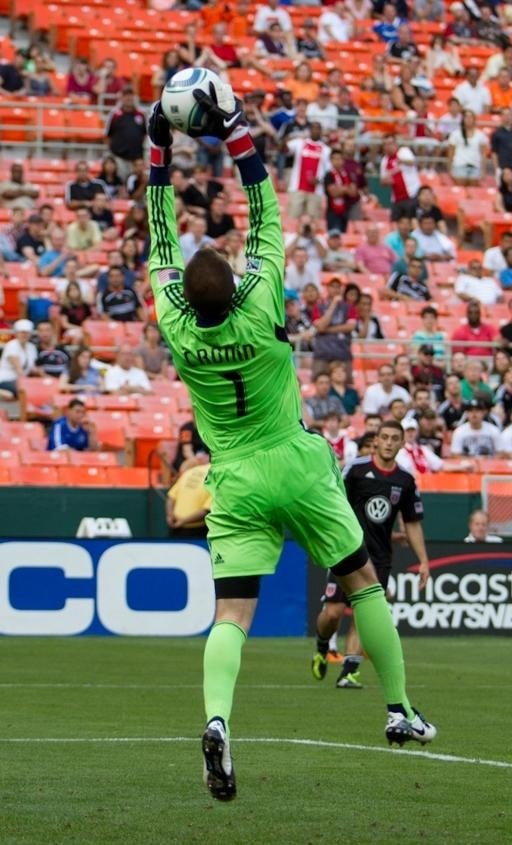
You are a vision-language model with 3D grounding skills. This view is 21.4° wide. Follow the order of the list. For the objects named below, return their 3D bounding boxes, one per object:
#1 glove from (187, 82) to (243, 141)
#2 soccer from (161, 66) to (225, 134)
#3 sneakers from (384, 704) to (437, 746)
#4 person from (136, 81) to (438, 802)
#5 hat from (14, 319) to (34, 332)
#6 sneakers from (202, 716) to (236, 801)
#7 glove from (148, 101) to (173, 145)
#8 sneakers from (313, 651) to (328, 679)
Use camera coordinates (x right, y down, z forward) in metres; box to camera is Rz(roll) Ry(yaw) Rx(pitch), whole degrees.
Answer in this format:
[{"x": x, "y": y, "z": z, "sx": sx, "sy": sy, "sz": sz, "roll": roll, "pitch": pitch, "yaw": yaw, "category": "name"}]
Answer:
[{"x": -0.132, "y": -1.095, "z": 4.905, "sx": 0.168, "sy": 0.218, "sz": 0.090, "roll": -29, "pitch": 3, "yaw": -26, "category": "glove"}, {"x": -0.233, "y": -1.174, "z": 5.010, "sx": 0.222, "sy": 0.250, "sz": 0.214, "roll": 5, "pitch": -21, "yaw": 21, "category": "soccer"}, {"x": 0.550, "y": 1.124, "z": 4.975, "sx": 0.097, "sy": 0.138, "sz": 0.266, "roll": -3, "pitch": -9, "yaw": 43, "category": "sneakers"}, {"x": 0.132, "y": 0.108, "z": 4.702, "sx": 0.972, "sy": 2.458, "sz": 1.438, "roll": -1, "pitch": 13, "yaw": -4, "category": "person"}, {"x": -2.299, "y": -0.956, "z": 13.496, "sx": 0.158, "sy": 0.154, "sz": 0.197, "roll": 0, "pitch": -13, "yaw": -2, "category": "hat"}, {"x": -0.107, "y": 1.059, "z": 4.234, "sx": 0.092, "sy": 0.253, "sz": 0.128, "roll": -11, "pitch": 17, "yaw": 4, "category": "sneakers"}, {"x": -0.346, "y": -1.105, "z": 5.059, "sx": 0.082, "sy": 0.161, "sz": 0.073, "roll": 3, "pitch": 5, "yaw": -29, "category": "glove"}, {"x": 0.361, "y": 1.329, "z": 7.498, "sx": 0.070, "sy": 0.081, "sz": 0.183, "roll": 6, "pitch": 37, "yaw": -4, "category": "sneakers"}]
